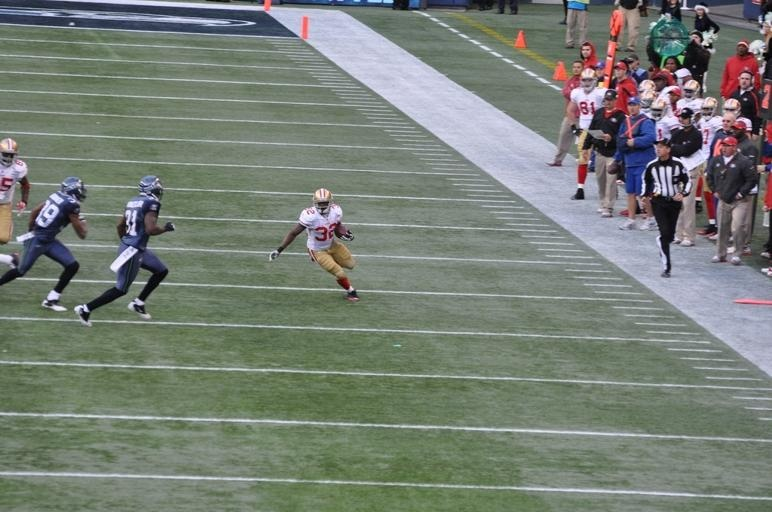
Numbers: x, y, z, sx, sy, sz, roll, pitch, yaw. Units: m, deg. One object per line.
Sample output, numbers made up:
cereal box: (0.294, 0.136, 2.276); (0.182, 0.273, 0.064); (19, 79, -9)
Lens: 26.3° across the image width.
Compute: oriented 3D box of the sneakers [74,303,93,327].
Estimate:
sneakers: (-4.872, 0.963, 26.933); (0.287, 0.414, 0.185); (3, 39, 26)

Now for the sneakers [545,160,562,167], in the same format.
sneakers: (3.569, -1.969, 34.932); (0.386, 0.106, 0.086); (2, 43, -18)

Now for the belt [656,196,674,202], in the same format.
belt: (5.003, -1.048, 29.619); (0.268, 0.088, 0.028); (5, 20, 22)

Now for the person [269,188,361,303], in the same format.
person: (-1.100, -0.243, 28.426); (1.244, 1.935, 0.860); (0, 19, -1)

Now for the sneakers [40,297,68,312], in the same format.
sneakers: (-5.486, 0.797, 27.448); (0.606, 0.164, 0.148); (8, 33, -1)

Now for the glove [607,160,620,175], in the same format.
glove: (4.323, -1.683, 31.262); (0.327, 0.221, 0.226); (5, 61, 4)

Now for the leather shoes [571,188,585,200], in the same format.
leather shoes: (3.959, -1.242, 33.061); (0.487, 0.197, 0.125); (2, 33, 6)

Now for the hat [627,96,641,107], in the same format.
hat: (4.654, -2.922, 31.017); (0.255, 0.104, 0.303); (-4, -2, 26)

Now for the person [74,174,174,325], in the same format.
person: (-4.146, -0.070, 26.944); (1.523, 2.421, 0.775); (-16, 25, -41)
